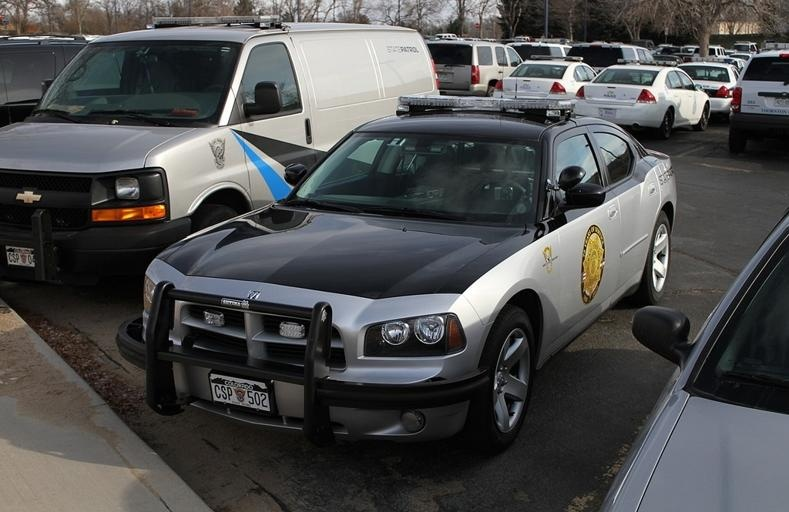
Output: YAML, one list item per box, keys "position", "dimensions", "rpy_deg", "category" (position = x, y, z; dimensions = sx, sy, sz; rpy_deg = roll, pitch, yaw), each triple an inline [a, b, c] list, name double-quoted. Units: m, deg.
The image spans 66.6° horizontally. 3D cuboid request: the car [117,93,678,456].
- position: [0.242, -0.025, 4.613]
  dimensions: [2.205, 2.100, 4.091]
  rpy_deg: [17, 27, 39]
  category: "car"
